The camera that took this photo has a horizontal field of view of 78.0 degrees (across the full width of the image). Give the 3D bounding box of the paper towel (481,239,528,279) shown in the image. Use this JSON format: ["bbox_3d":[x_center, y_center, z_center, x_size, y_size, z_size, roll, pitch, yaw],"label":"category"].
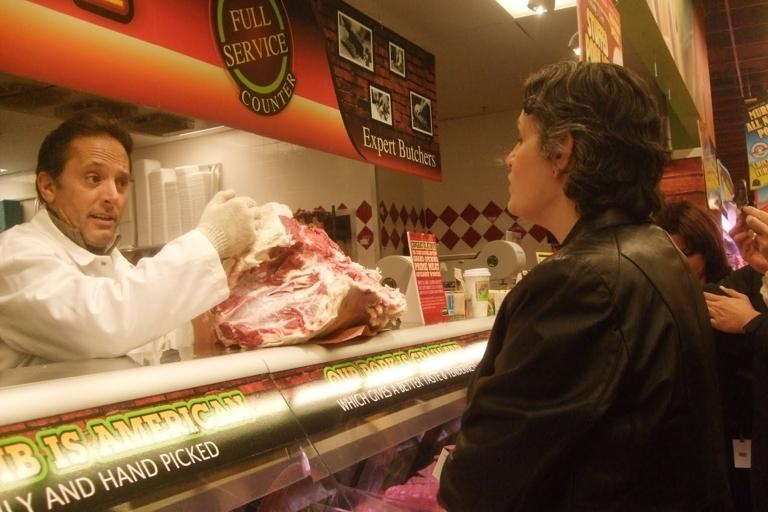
[{"bbox_3d":[0.901,0.030,3.682,0.321,0.287,0.198,-7,3,44],"label":"paper towel"}]

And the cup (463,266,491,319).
[{"bbox_3d":[0.447,0.182,2.329,0.169,0.234,0.169,-2,-5,0],"label":"cup"}]

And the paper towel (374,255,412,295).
[{"bbox_3d":[0.041,0.078,1.913,0.148,0.141,0.083,-9,-3,42],"label":"paper towel"}]
